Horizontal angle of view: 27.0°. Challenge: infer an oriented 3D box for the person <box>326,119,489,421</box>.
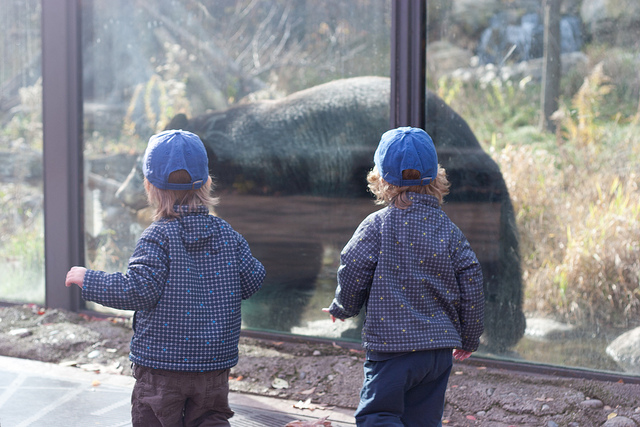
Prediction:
[{"bbox_3d":[0.733,0.487,10.994,1.137,2.374,0.535,-3,5,-20],"label":"person"}]
